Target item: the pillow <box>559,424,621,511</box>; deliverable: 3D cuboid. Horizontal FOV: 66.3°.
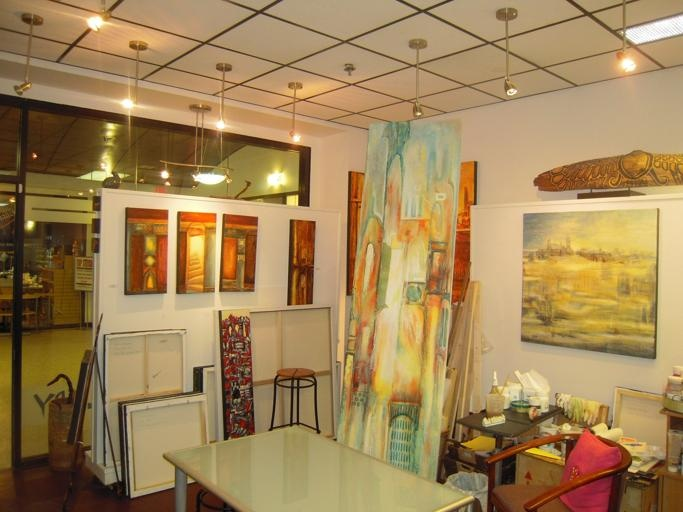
[{"bbox_3d":[1.835,1.621,3.910,0.317,0.519,0.423,0,5,-12],"label":"pillow"}]
